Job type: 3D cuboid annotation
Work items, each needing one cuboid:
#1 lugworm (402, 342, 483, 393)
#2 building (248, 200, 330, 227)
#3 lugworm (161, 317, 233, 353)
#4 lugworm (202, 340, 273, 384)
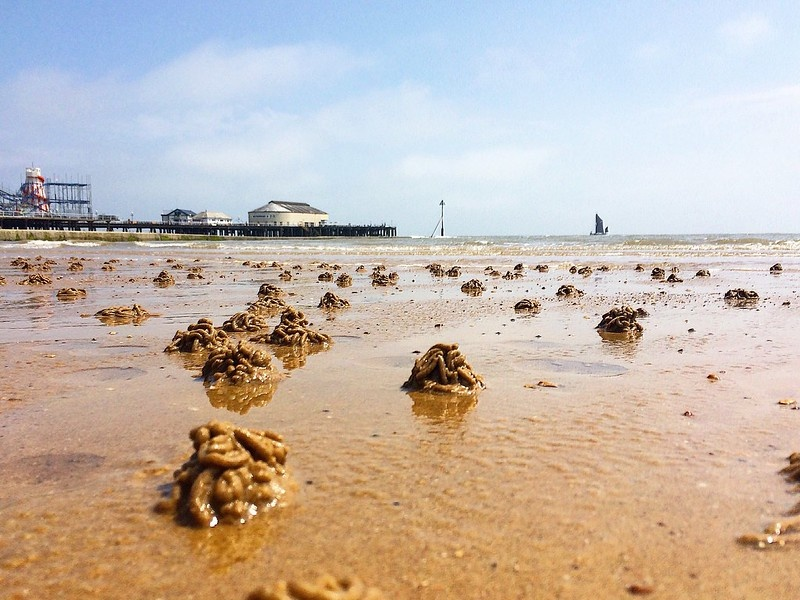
[{"bbox_3d":[0.502,0.765,7.079,0.949,0.442,0.588,2,10,9],"label":"lugworm"},{"bbox_3d":[-25.035,-19.087,137.321,14.197,5.039,25.232,3,10,18],"label":"building"},{"bbox_3d":[-2.918,0.552,8.972,0.606,0.259,0.615,6,12,41],"label":"lugworm"},{"bbox_3d":[-1.925,0.705,7.506,0.529,0.275,0.652,2,1,12],"label":"lugworm"}]
